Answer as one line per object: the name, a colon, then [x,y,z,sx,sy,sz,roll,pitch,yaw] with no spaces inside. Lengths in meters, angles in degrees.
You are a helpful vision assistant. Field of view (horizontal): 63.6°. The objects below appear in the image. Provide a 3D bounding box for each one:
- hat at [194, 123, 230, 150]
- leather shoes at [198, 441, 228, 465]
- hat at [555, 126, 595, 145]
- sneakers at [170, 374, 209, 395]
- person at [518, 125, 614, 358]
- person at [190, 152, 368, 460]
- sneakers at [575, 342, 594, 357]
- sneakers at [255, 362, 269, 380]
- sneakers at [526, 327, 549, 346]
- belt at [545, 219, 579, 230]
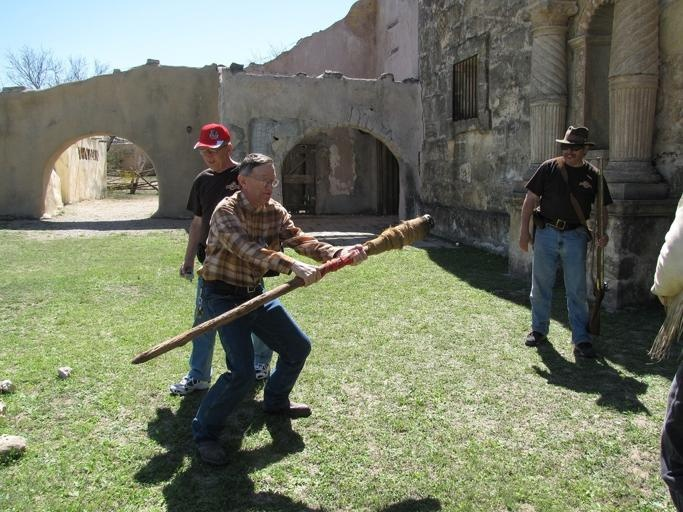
hat: [-1.128,-1.045,4.895,0.212,0.198,0.338,4,11,12]
leather shoes: [-0.948,1.415,4.019,0.244,0.119,0.116,2,4,37]
hat: [2.378,-1.212,5.597,0.262,0.176,0.213,5,15,17]
sneakers: [-1.367,1.157,4.938,0.345,0.180,0.141,6,-9,-21]
person: [2.332,-0.193,5.797,0.865,2.248,0.731,7,15,28]
person: [-0.623,0.319,4.241,1.183,2.130,0.861,-5,15,-19]
sneakers: [2.487,0.946,5.596,0.197,0.132,0.152,7,16,25]
sneakers: [-0.736,1.066,5.051,0.092,0.136,0.280,1,2,2]
sneakers: [2.096,0.868,5.918,0.114,0.128,0.274,6,8,39]
belt: [2.315,-0.328,5.737,0.343,0.102,0.081,7,16,26]
